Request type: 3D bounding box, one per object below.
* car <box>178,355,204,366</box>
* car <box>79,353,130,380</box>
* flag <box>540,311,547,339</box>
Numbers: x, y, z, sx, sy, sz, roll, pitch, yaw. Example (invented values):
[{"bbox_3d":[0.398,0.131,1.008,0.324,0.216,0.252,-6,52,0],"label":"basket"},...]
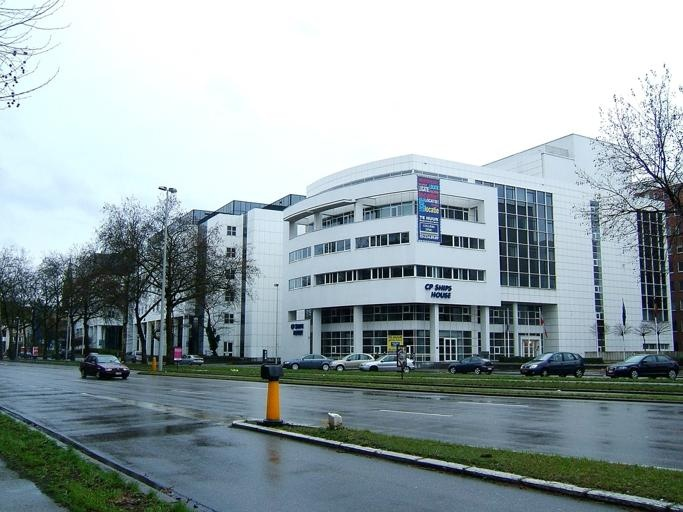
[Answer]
[{"bbox_3d":[-18.717,12.857,79.418,2.654,1.348,3.970,4,-13,-17],"label":"car"},{"bbox_3d":[-14.456,6.654,38.631,1.529,1.033,3.264,8,-15,-34],"label":"car"},{"bbox_3d":[23.597,7.786,73.956,0.804,3.347,2.042,-4,-12,18],"label":"flag"}]
